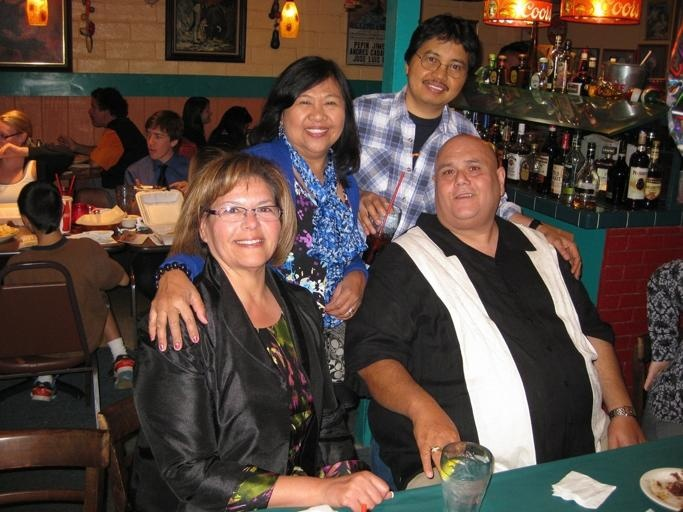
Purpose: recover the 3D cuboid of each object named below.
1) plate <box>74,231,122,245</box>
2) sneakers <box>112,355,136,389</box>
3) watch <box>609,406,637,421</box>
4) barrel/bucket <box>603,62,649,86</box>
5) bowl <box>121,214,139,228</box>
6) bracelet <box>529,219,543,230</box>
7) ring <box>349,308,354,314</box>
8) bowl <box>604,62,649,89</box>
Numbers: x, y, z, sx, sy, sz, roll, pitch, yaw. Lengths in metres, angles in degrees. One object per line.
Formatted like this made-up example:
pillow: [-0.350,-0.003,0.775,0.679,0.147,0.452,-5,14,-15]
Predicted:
plate: [-1.696,-0.124,3.922,0.278,0.083,0.333,-4,9,-25]
sneakers: [-1.520,0.825,3.993,0.139,0.218,0.400,-4,9,-22]
watch: [1.156,0.651,2.364,0.084,0.059,0.090,0,-17,-8]
barrel/bucket: [1.978,-1.254,3.993,0.207,0.160,0.199,3,5,0]
bowl: [-1.535,-0.244,4.159,0.110,0.048,0.111,-1,0,0]
bracelet: [0.930,-0.151,2.757,0.076,0.029,0.106,1,27,15]
ring: [0.038,0.235,2.439,0.010,0.013,0.018,-34,14,8]
bowl: [1.968,-1.248,3.983,0.241,0.216,0.281,7,11,42]
